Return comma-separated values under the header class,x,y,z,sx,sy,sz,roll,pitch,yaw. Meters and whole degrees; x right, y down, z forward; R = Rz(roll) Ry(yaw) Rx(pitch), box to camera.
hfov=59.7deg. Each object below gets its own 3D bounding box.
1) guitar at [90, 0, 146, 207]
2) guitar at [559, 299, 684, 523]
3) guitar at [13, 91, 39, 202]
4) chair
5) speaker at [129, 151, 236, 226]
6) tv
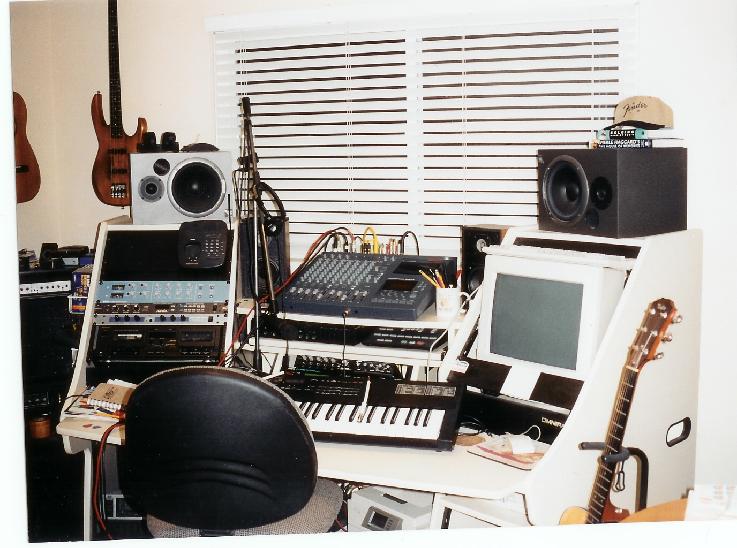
class,x,y,z,sx,sy,sz,roll,pitch,yaw
guitar,-1.341,-0.918,3.440,0.275,1.080,0.168,10,9,29
guitar,0.989,0.490,2.237,0.249,0.798,0.695,13,11,44
guitar,-1.898,-0.686,3.563,0.128,0.609,0.223,1,9,-30
chair,-0.363,0.518,2.175,0.532,0.733,0.586,1,13,7
speaker,-0.879,-0.401,2.980,0.499,0.376,0.322,0,6,-3
tv,0.669,0.193,2.269,0.228,0.437,0.423,9,3,-43
